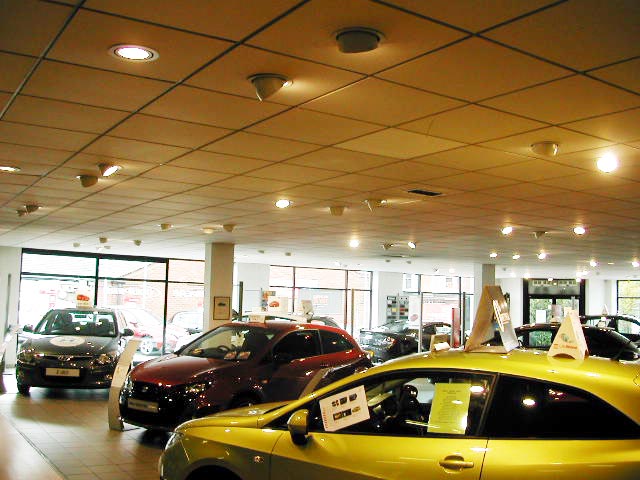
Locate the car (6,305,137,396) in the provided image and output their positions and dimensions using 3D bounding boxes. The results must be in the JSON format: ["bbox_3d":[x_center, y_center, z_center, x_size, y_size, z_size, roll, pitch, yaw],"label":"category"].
[{"bbox_3d":[-5.617,2.156,11.395,2.308,1.169,3.314,5,10,-15],"label":"car"}]

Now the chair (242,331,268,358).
[{"bbox_3d":[-1.052,1.722,7.896,0.334,0.092,0.412,-1,18,-2],"label":"chair"}]

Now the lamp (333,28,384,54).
[{"bbox_3d":[0.250,-1.243,3.049,0.303,0.116,0.215,-3,-5,6],"label":"lamp"}]

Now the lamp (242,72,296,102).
[{"bbox_3d":[-0.386,-1.178,3.675,0.290,0.086,0.220,0,-12,3],"label":"lamp"}]
